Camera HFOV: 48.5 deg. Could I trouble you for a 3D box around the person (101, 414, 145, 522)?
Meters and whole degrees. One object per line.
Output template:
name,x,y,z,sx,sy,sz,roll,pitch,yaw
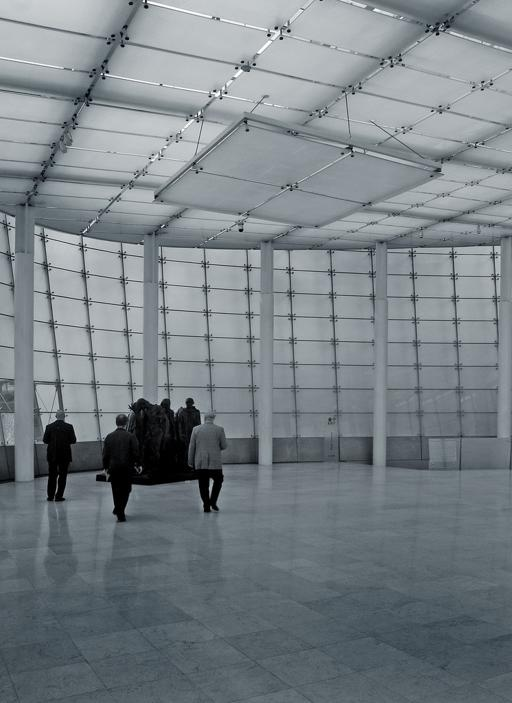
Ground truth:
person,-2.379,2.082,10.105,0.611,1.527,0.628,-5,2,-15

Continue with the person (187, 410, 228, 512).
person,-0.988,2.258,11.537,0.753,1.460,1.445,-4,2,-6
